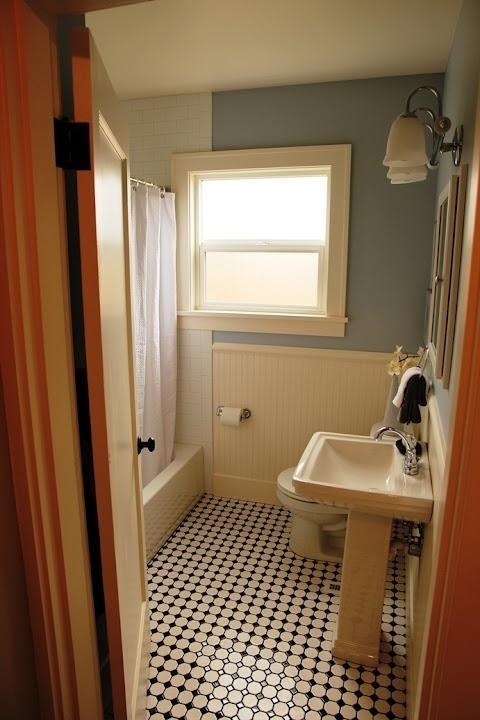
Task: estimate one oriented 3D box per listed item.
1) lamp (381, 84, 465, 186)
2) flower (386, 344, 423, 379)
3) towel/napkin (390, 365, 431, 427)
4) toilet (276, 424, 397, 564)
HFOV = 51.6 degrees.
[{"bbox_3d":[0.644,-0.795,1.742,0.212,0.432,0.159,8,-20,15],"label":"lamp"},{"bbox_3d":[0.820,-0.016,2.510,0.111,0.191,0.221,29,16,32],"label":"flower"},{"bbox_3d":[0.686,0.113,2.053,0.130,0.354,0.297,2,10,11],"label":"towel/napkin"},{"bbox_3d":[0.432,0.747,2.621,0.440,0.479,0.424,6,14,8],"label":"toilet"}]
